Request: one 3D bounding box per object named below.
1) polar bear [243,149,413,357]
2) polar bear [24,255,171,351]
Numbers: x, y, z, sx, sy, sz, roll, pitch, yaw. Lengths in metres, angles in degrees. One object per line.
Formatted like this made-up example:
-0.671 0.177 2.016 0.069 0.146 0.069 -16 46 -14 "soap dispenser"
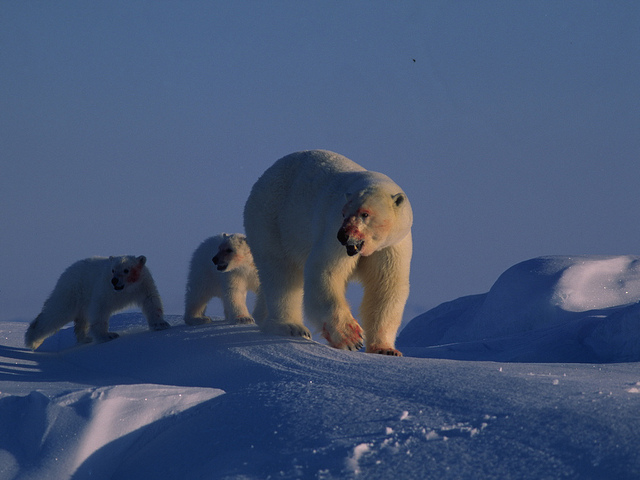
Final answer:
0.086 0.069 10.407 1.192 1.804 2.527 3 0 -20 "polar bear"
-2.350 0.635 12.104 1.681 0.856 0.961 -11 -6 30 "polar bear"
